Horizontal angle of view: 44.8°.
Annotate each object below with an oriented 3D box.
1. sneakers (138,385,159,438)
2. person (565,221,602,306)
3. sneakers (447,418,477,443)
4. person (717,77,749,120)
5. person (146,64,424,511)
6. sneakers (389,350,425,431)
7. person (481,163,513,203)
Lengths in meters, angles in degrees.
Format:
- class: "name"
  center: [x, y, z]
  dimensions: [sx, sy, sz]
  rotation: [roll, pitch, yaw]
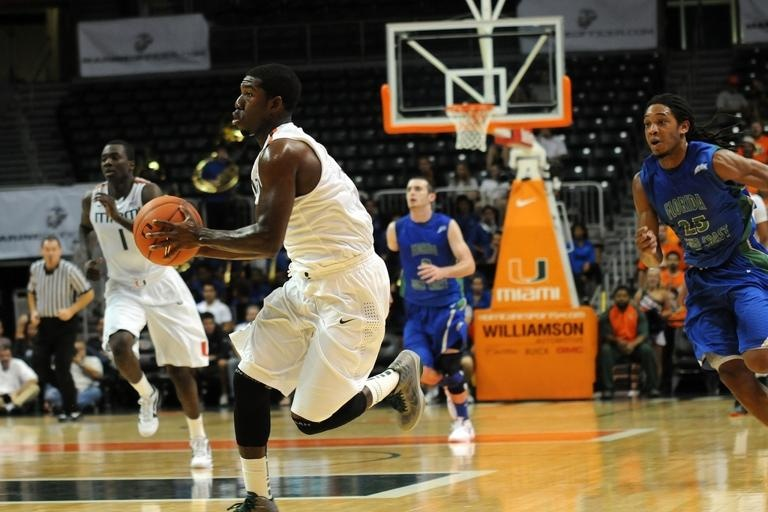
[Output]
- class: "sneakers"
  center: [-2.251, 1.467, 8.785]
  dimensions: [0.168, 0.529, 0.229]
  rotation: [-4, -1, 14]
- class: "person"
  center: [2.733, 0.094, 12.757]
  dimensions: [0.399, 1.048, 1.139]
  rotation: [-3, 1, 13]
- class: "sneakers"
  center: [0.776, 1.760, 9.437]
  dimensions: [0.240, 0.233, 0.317]
  rotation: [-3, 1, 11]
- class: "person"
  center: [6.791, -3.191, 18.142]
  dimensions: [0.689, 0.686, 1.107]
  rotation: [-3, 19, 24]
- class: "person"
  center: [-0.640, 0.196, 6.805]
  dimensions: [1.329, 3.280, 0.626]
  rotation: [-3, 0, -2]
- class: "sneakers"
  center: [0.212, 1.106, 7.703]
  dimensions: [0.235, 0.699, 0.297]
  rotation: [-2, 9, 29]
- class: "person"
  center: [1.839, -1.249, 15.721]
  dimensions: [0.490, 0.698, 1.711]
  rotation: [-3, 1, 6]
